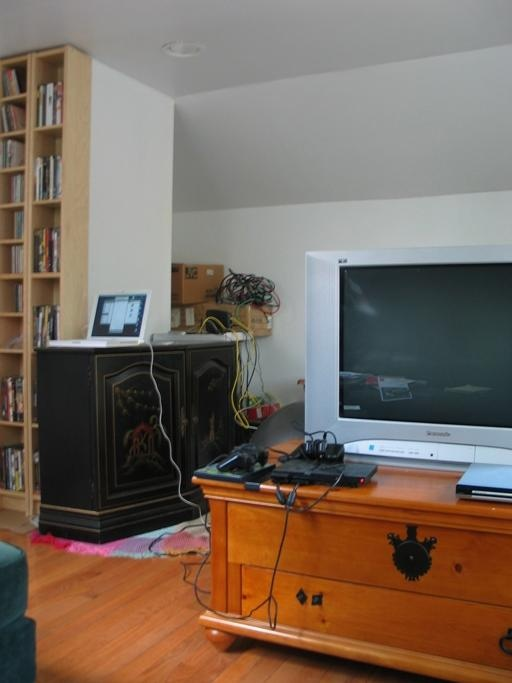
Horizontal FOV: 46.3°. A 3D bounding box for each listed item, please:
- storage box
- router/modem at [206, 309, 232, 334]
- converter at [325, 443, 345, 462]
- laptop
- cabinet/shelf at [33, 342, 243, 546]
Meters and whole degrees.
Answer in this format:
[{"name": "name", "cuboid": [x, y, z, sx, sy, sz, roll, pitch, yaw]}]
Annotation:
[{"name": "storage box", "cuboid": [-0.252, -0.290, 4.187, 0.425, 0.518, 0.904, 0, 2, 45]}, {"name": "router/modem", "cuboid": [-0.230, -0.134, 3.726, 0.147, 0.154, 0.348, -1, 1, -11]}, {"name": "converter", "cuboid": [0.204, 0.290, 1.569, 0.036, 0.016, 0.049, 2, 8, 13]}, {"name": "laptop", "cuboid": [-0.672, -0.093, 2.568, 0.338, 0.195, 0.305, 2, 3, 35]}, {"name": "cabinet/shelf", "cuboid": [-0.481, 0.426, 2.894, 0.399, 0.795, 0.996, -1, 0, 36]}]
